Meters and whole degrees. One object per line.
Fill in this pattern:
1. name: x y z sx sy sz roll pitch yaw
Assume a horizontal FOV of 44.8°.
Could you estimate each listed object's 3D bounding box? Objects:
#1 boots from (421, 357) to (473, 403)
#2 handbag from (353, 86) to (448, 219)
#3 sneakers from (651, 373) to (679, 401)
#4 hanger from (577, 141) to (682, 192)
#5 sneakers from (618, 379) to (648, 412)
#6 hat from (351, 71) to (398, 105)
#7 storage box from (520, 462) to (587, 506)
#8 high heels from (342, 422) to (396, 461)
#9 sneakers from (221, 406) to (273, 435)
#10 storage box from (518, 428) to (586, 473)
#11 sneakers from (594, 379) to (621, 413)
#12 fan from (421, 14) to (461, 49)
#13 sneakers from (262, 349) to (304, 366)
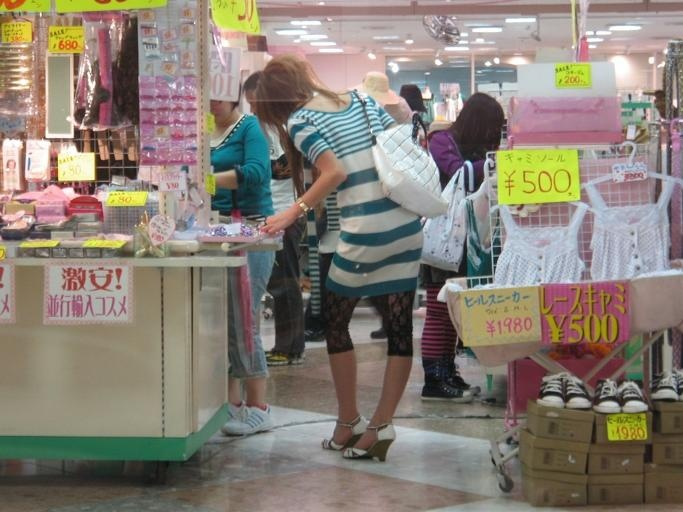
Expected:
1. boots: 0.581 0.743 4.903 0.421 0.291 0.150 0 -1 1
2. handbag: 0.263 -0.480 3.840 0.428 0.581 0.268 -1 5 7
3. sneakers: 1.333 0.539 3.422 0.107 0.097 0.137 1 6 20
4. hanger: 1.195 -0.439 3.730 0.308 0.130 0.304 -6 18 -7
5. sneakers: 1.180 0.577 3.360 0.117 0.119 0.161 1 6 20
6. hat: 0.191 -0.879 4.590 0.223 0.110 0.225 16 37 3
7. storage box: 0.845 0.909 3.369 0.173 0.105 0.170 1 -2 -6
8. high heels: 0.150 0.876 3.928 0.246 0.181 0.125 3 0 18
9. sneakers: -0.486 0.857 4.323 0.277 0.127 0.108 1 -5 -35
10. storage box: 0.858 0.796 3.360 0.168 0.095 0.170 1 3 1
11. sneakers: 1.069 0.570 3.347 0.104 0.115 0.111 0 6 16
12. fan: 0.565 -1.288 4.702 0.213 0.176 0.052 -1 5 6
13. sneakers: -0.428 0.733 5.952 0.341 0.142 0.124 3 7 -12
